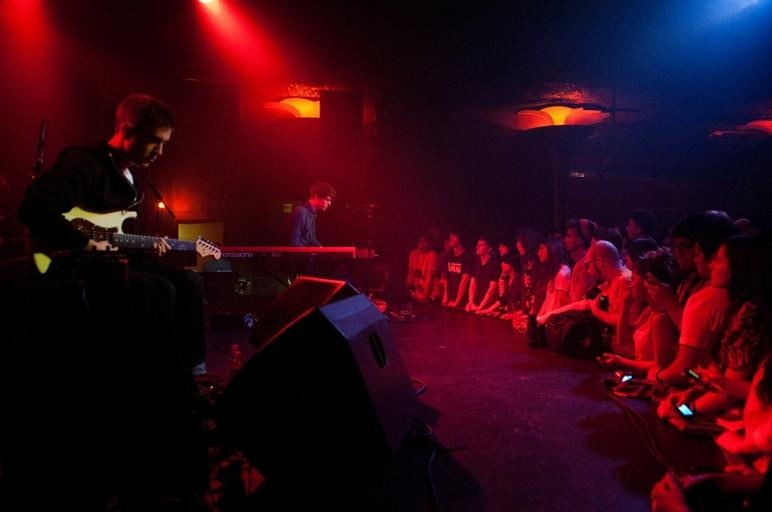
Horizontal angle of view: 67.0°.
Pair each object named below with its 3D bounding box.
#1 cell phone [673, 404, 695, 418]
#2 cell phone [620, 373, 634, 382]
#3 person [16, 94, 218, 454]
[{"bbox_3d":[2.577,1.326,5.045,0.137,0.090,0.086,5,6,28],"label":"cell phone"},{"bbox_3d":[2.346,1.169,5.692,0.094,0.040,0.061,-11,-6,-18],"label":"cell phone"},{"bbox_3d":[-2.042,-0.059,4.581,1.283,2.495,1.026,5,6,30],"label":"person"}]
